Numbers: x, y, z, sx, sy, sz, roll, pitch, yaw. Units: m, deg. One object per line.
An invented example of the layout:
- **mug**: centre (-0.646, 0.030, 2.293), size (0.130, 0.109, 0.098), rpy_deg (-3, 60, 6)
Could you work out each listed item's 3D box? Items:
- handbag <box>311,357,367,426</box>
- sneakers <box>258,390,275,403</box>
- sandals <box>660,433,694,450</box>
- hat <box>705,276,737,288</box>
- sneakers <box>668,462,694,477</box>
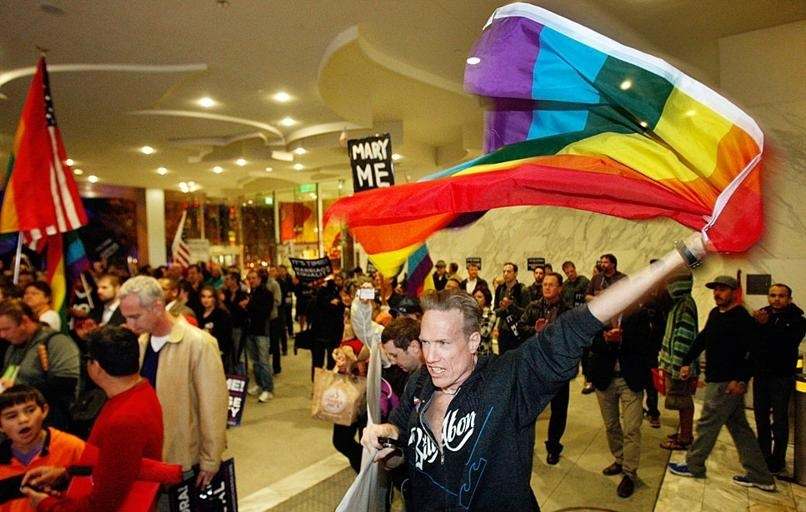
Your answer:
- **handbag**: centre (-0.717, 1.509, 5.932), size (0.575, 0.527, 0.297), rpy_deg (1, 11, 13)
- **sneakers**: centre (-2.434, 2.481, 9.669), size (0.134, 0.128, 0.294), rpy_deg (-2, -9, 1)
- **sandals**: centre (3.847, 2.615, 7.688), size (0.475, 0.206, 0.177), rpy_deg (-4, 26, 42)
- **hat**: centre (4.072, 0.325, 6.973), size (0.332, 0.172, 0.186), rpy_deg (5, 12, 29)
- **sneakers**: centre (3.593, 2.767, 7.084), size (0.310, 0.138, 0.115), rpy_deg (6, 10, 26)
